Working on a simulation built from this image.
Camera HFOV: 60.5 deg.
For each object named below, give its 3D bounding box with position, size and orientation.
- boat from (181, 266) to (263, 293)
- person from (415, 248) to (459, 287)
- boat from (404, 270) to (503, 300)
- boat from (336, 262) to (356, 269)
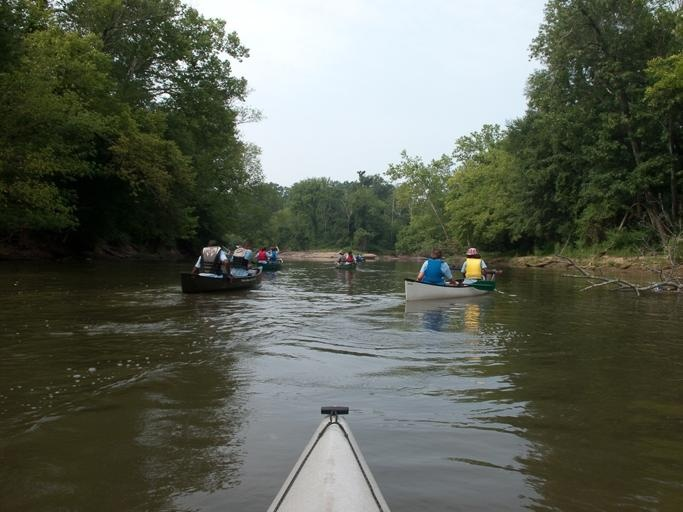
[{"bbox_3d":[-4.139,0.850,20.635,0.960,0.610,3.993,-5,-6,22],"label":"boat"},{"bbox_3d":[3.148,0.481,19.493,1.169,1.488,1.030,10,8,21],"label":"person"},{"bbox_3d":[3.556,1.071,19.405,4.331,0.785,0.493,5,-3,-42],"label":"boat"},{"bbox_3d":[0.233,0.614,40.932,1.238,0.496,0.757,1,-3,34],"label":"boat"}]
